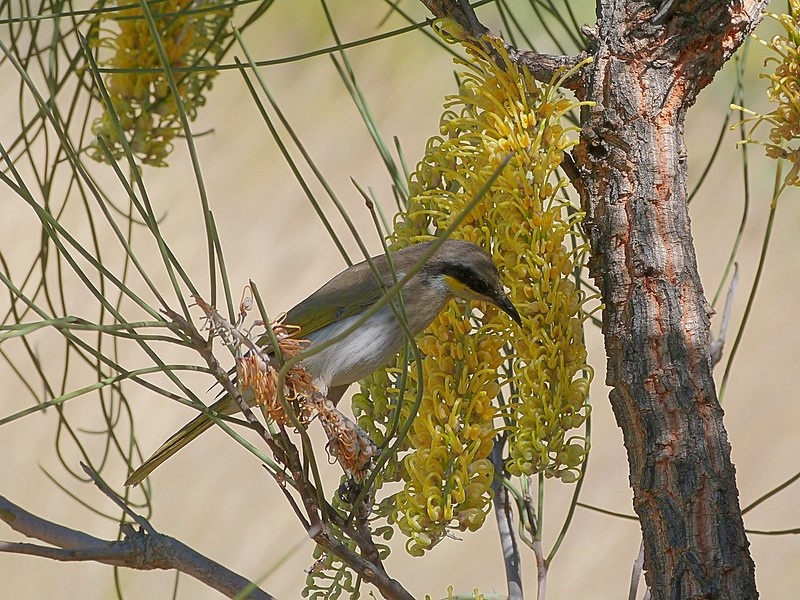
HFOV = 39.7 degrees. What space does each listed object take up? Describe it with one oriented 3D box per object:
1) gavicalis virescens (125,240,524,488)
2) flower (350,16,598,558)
[{"bbox_3d":[-0.229,0.180,3.488,1.258,0.590,0.393,-7,-29,8],"label":"gavicalis virescens"},{"bbox_3d":[0.373,-0.413,3.524,0.614,2.550,1.065,13,-59,3],"label":"flower"}]
